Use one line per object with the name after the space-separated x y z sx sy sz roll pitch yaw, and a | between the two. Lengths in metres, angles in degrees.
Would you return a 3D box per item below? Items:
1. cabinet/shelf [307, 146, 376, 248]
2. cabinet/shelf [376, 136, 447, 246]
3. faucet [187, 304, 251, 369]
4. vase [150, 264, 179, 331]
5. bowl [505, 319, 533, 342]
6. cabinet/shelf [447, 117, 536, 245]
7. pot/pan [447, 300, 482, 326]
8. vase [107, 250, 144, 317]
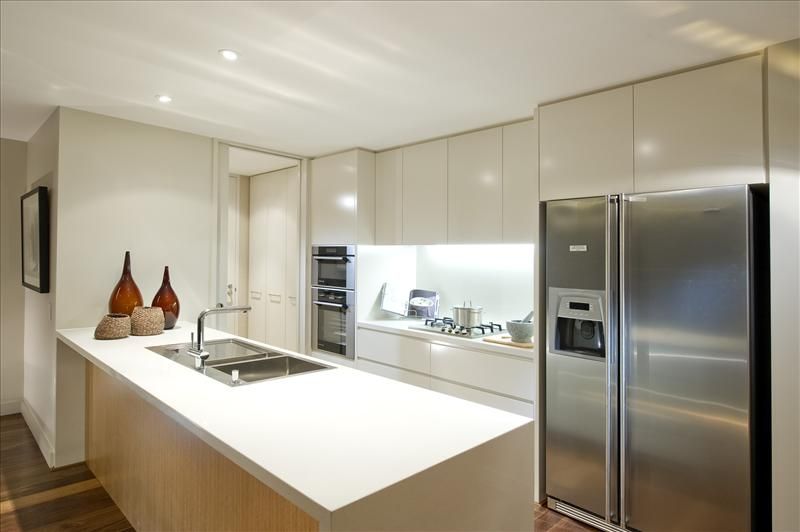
-0.586 -0.723 5.766 0.367 1.251 1.002 0 -1 -43 | cabinet/shelf
0.135 -0.744 5.425 0.338 1.047 1.000 0 -1 -44 | cabinet/shelf
-1.253 0.488 3.877 0.408 0.402 0.198 -4 16 -39 | faucet
-1.959 0.263 4.591 0.193 0.518 0.325 1 1 -24 | vase
1.019 0.556 4.730 0.177 0.133 0.180 0 -1 0 | bowl
0.828 -0.761 4.864 1.081 1.256 0.407 0 0 44 | cabinet/shelf
0.627 0.477 5.186 0.186 0.234 0.326 4 -4 -32 | pot/pan
-2.256 0.137 4.535 0.233 0.519 0.384 1 1 -28 | vase
